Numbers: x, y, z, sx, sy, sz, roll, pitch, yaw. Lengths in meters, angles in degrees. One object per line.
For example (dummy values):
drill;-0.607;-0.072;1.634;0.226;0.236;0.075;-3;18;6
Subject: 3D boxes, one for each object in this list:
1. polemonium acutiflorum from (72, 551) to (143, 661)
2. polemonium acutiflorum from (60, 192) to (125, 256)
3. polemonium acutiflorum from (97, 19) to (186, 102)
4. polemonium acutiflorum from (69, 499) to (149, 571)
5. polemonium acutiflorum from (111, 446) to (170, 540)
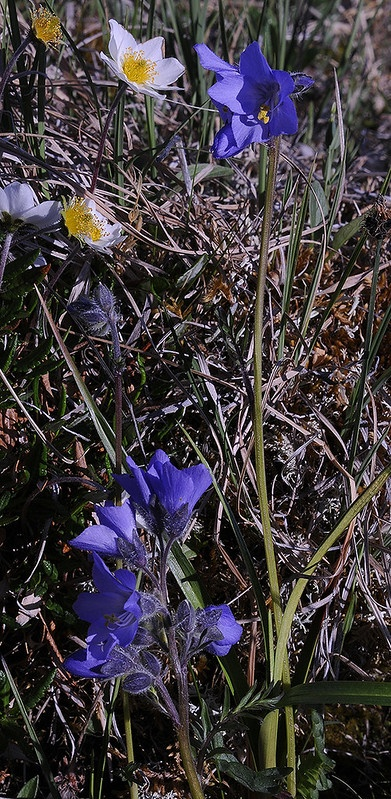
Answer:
polemonium acutiflorum;-0.049;0.133;0.404;0.028;0.054;0.078;-5;78;-41
polemonium acutiflorum;-0.119;-0.199;0.684;0.068;0.032;0.083;21;53;-53
polemonium acutiflorum;-0.072;-0.405;0.728;0.096;0.046;0.112;24;49;6
polemonium acutiflorum;-0.063;0.092;0.430;0.022;0.051;0.046;22;3;31
polemonium acutiflorum;-0.041;0.069;0.429;0.042;0.026;0.056;-3;60;9
